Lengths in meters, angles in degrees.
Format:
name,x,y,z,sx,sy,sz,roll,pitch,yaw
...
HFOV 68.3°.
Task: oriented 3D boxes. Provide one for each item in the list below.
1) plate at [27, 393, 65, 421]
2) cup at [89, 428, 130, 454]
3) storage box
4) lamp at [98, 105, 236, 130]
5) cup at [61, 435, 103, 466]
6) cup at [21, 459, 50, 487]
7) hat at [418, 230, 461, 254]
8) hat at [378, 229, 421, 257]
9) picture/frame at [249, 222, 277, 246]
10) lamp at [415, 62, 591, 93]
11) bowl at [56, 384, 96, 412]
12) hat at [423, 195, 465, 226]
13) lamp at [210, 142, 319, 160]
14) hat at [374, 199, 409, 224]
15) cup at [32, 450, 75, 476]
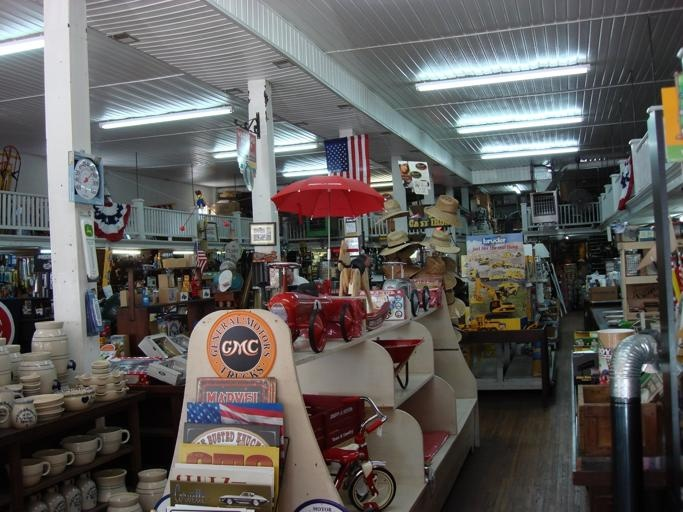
name,x,y,z,sx,sy,sz,roll,pitch,yaw
plate,-1.935,0.991,3.319,0.157,0.081,0.173,-2,-2,1
cup,-1.736,1.400,3.818,0.215,0.137,0.170,5,-10,-40
storage box,2.067,1.216,3.848,0.436,0.595,0.795,-1,-3,19
lamp,-3.971,-3.142,11.583,3.328,0.515,0.903,10,3,19
cup,-1.849,1.394,3.608,0.164,0.136,0.202,-4,-11,15
cup,-1.973,1.391,3.259,0.174,0.127,0.142,4,-9,-23
hat,1.355,-0.146,6.721,0.381,0.158,0.395,19,1,30
hat,0.774,-0.175,6.927,0.365,0.173,0.407,-18,4,46
picture/frame,-1.252,-0.346,8.038,0.354,0.332,0.036,-1,-4,-4
lamp,3.196,-3.648,10.235,2.183,0.114,0.300,-2,24,28
bowl,-1.846,1.001,3.557,0.159,0.081,0.165,-1,-3,0
hat,1.402,-0.548,6.894,0.508,0.271,0.466,36,19,23
lamp,-2.216,-3.084,15.000,3.765,0.467,1.265,11,4,35
hat,0.749,-0.674,7.663,0.401,0.220,0.410,-17,-2,-8
cup,-1.946,1.392,3.423,0.201,0.104,0.146,9,-13,-43
